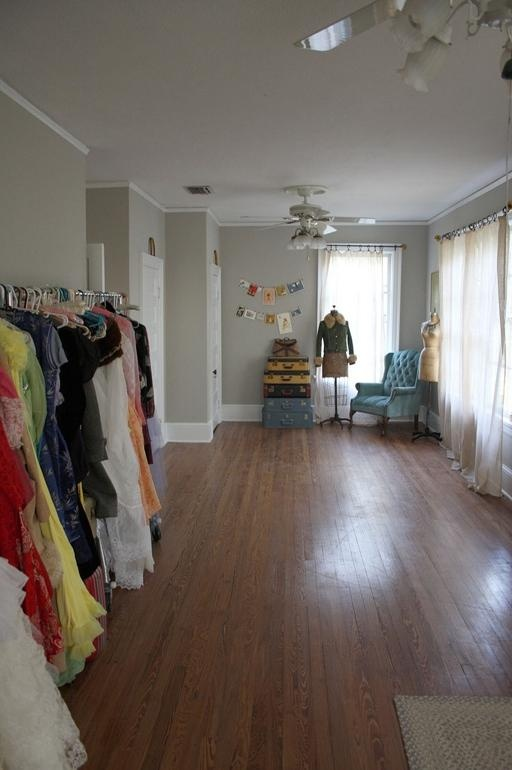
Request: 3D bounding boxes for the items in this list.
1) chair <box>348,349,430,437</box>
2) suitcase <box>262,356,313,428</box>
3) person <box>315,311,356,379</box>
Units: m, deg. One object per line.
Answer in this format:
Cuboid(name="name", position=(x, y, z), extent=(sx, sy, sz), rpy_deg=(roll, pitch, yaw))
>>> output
Cuboid(name="chair", position=(1.786, 0.023, 6.220), extent=(0.832, 1.257, 0.884), rpy_deg=(6, -2, 39))
Cuboid(name="suitcase", position=(0.451, 0.090, 6.638), extent=(0.556, 1.001, 0.881), rpy_deg=(0, -2, 4))
Cuboid(name="person", position=(1.122, -0.501, 6.527), extent=(0.527, 1.334, 0.275), rpy_deg=(0, 42, 9))
